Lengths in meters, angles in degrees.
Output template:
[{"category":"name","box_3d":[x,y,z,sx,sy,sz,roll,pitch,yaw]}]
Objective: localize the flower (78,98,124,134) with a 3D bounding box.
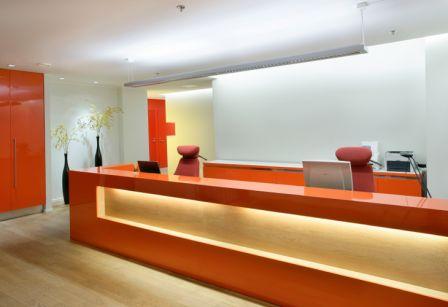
[{"category":"flower","box_3d":[-3.647,-1.051,8.778,0.940,0.693,0.921,-3,0,14]}]

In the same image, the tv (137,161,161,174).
[{"category":"tv","box_3d":[-1.316,0.237,5.234,0.360,0.232,0.258,1,14,24]}]

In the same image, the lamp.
[{"category":"lamp","box_3d":[3.495,0.347,5.403,0.521,0.801,0.733,4,13,28]}]

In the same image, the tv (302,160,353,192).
[{"category":"tv","box_3d":[1.343,0.272,3.870,0.549,0.501,0.443,0,24,26]}]

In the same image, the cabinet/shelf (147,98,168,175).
[{"category":"cabinet/shelf","box_3d":[-2.684,-0.781,12.005,0.998,2.801,0.623,-9,13,-30]}]

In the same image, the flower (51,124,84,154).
[{"category":"flower","box_3d":[-4.416,-0.395,8.161,0.710,0.685,0.702,-9,-12,32]}]
